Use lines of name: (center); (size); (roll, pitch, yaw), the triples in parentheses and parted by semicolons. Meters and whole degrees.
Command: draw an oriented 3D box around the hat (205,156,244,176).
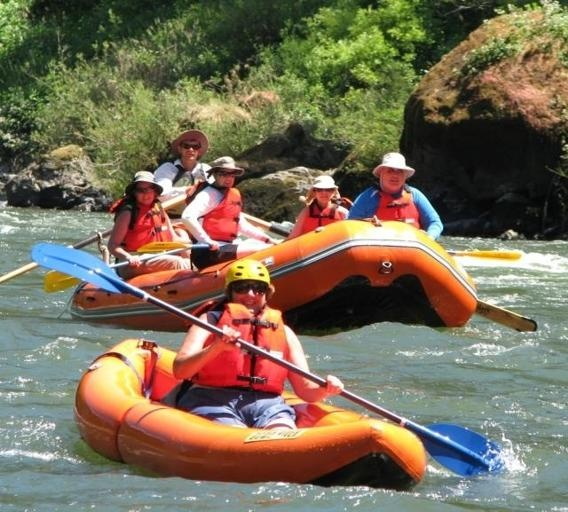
hat: (-0.565, -0.877, 7.910); (0.333, 0.083, 0.284); (3, -11, -5)

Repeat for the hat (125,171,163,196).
hat: (-1.284, -0.700, 7.819); (0.330, 0.111, 0.261); (3, -20, 1)

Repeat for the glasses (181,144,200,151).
glasses: (-0.981, -1.182, 9.125); (0.252, 0.067, 0.130); (-1, 3, -43)

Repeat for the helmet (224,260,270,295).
helmet: (-0.209, 0.123, 4.887); (0.212, 0.190, 0.161); (3, 27, -6)

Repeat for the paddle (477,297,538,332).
paddle: (1.878, 0.513, 7.180); (0.070, 0.124, 0.952); (-13, 19, -39)

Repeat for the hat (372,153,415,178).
hat: (1.056, -0.876, 7.750); (0.479, 0.153, 0.379); (4, -16, -2)

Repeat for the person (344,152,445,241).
person: (1.011, -0.474, 7.662); (0.993, 0.716, 0.976); (1, 10, -9)

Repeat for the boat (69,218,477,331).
boat: (-0.457, 0.351, 7.871); (3.182, 0.498, 1.621); (-13, -10, 30)

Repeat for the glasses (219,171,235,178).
glasses: (-0.543, -0.761, 7.806); (0.106, 0.026, 0.111); (6, -1, -1)

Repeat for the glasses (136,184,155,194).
glasses: (-1.282, -0.619, 7.737); (0.170, 0.076, 0.080); (0, 3, -14)

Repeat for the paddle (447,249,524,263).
paddle: (2.361, 0.006, 9.699); (1.289, 0.130, 0.263); (3, -1, -21)

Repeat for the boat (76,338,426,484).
boat: (-0.324, 0.880, 4.517); (1.611, 0.327, 0.809); (9, 3, 36)
